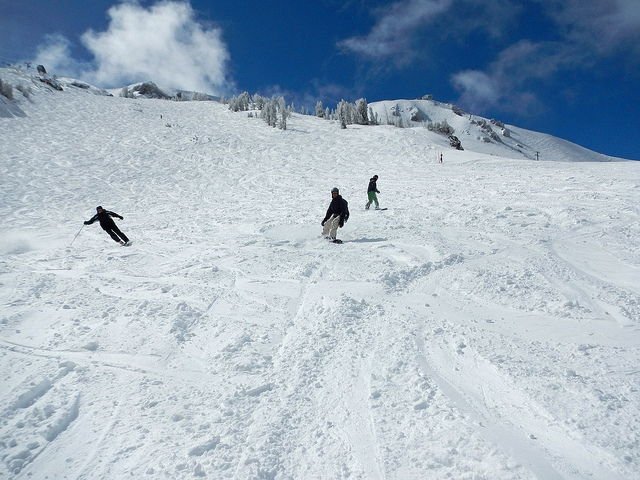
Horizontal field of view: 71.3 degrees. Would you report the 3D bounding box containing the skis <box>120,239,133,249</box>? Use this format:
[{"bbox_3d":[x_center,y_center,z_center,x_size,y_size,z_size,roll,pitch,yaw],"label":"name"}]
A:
[{"bbox_3d":[-6.239,0.146,14.407,0.169,0.161,0.612,15,3,-30],"label":"skis"}]

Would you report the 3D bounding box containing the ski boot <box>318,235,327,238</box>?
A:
[{"bbox_3d":[0.075,-0.108,14.164,0.261,0.056,0.096,-7,57,-5],"label":"ski boot"}]

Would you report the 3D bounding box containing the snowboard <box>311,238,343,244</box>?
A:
[{"bbox_3d":[0.334,0.045,13.726,0.679,0.107,0.177,6,60,27],"label":"snowboard"}]

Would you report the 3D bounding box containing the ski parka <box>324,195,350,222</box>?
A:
[{"bbox_3d":[0.545,-0.931,13.761,0.704,0.859,0.402,8,35,-5],"label":"ski parka"}]

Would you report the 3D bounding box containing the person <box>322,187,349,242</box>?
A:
[{"bbox_3d":[0.489,-0.741,13.827,0.731,1.751,1.261,12,34,2],"label":"person"}]

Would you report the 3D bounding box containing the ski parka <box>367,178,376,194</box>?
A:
[{"bbox_3d":[2.063,-2.112,17.488,0.287,0.494,0.474,11,33,1],"label":"ski parka"}]

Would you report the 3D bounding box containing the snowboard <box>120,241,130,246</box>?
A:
[{"bbox_3d":[-6.284,0.146,14.396,0.270,0.064,0.285,-2,33,-18],"label":"snowboard"}]

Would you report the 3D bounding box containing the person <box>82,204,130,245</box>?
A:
[{"bbox_3d":[-7.005,-0.549,14.746,1.070,0.338,1.430,-18,50,-31],"label":"person"}]
